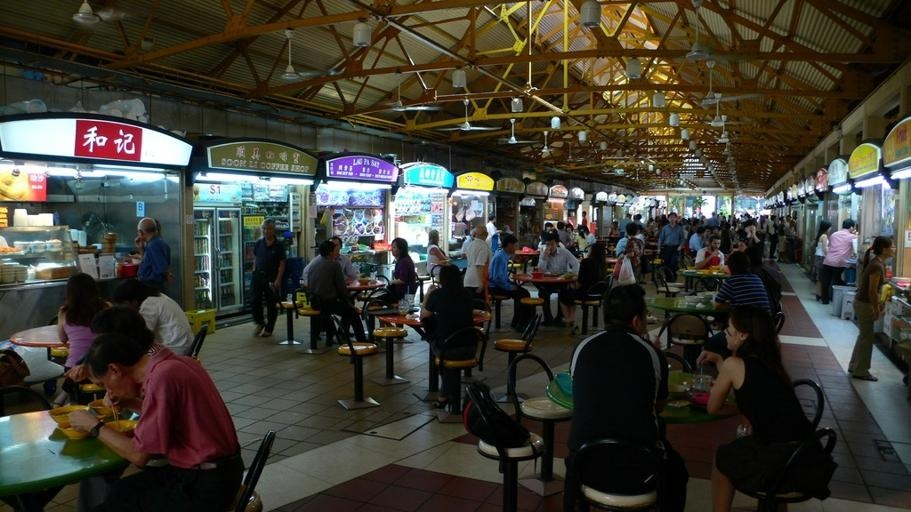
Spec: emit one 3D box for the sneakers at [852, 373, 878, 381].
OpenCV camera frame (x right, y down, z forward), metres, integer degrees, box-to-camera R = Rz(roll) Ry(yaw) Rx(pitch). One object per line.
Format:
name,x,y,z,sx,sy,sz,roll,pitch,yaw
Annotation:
sneakers,6.625,1.968,10.187,0.420,0.143,0.142,0,3,11

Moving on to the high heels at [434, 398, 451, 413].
high heels,-0.197,2.226,9.361,0.337,0.106,0.149,11,-38,10

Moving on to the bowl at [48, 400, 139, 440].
bowl,-3.908,1.774,6.911,0.571,0.132,0.547,2,2,0

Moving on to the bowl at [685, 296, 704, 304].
bowl,3.981,0.739,10.469,0.203,0.070,0.145,-2,5,-20

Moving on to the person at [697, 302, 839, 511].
person,3.394,1.711,6.836,1.174,2.283,0.382,2,3,23

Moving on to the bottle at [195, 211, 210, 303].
bottle,-5.345,0.063,13.267,0.342,2.061,0.173,-1,3,-30

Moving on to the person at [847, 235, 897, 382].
person,6.636,0.851,10.023,0.474,2.317,0.624,1,2,13

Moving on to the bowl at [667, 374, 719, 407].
bowl,2.708,1.558,7.295,0.392,0.104,0.392,-1,9,0
